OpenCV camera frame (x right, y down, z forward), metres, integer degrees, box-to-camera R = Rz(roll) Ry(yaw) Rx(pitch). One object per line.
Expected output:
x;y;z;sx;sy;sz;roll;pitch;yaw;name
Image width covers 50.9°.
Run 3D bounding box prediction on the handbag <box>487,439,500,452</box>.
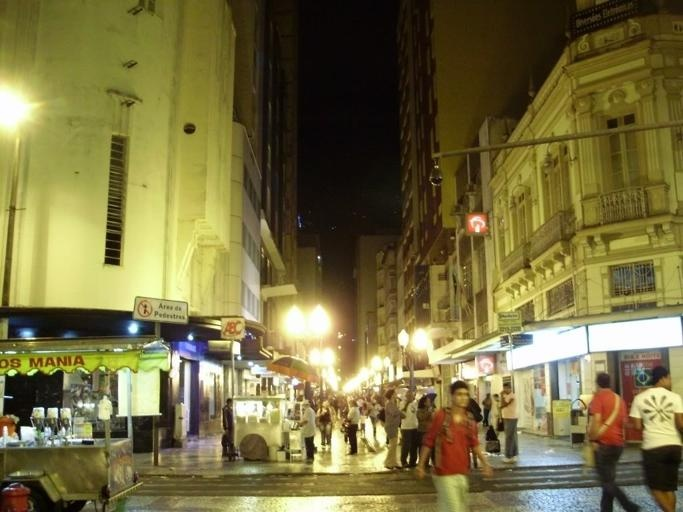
5.073;6.355;24.138;0.592;0.479;0.335;3;-3;-42;handbag
